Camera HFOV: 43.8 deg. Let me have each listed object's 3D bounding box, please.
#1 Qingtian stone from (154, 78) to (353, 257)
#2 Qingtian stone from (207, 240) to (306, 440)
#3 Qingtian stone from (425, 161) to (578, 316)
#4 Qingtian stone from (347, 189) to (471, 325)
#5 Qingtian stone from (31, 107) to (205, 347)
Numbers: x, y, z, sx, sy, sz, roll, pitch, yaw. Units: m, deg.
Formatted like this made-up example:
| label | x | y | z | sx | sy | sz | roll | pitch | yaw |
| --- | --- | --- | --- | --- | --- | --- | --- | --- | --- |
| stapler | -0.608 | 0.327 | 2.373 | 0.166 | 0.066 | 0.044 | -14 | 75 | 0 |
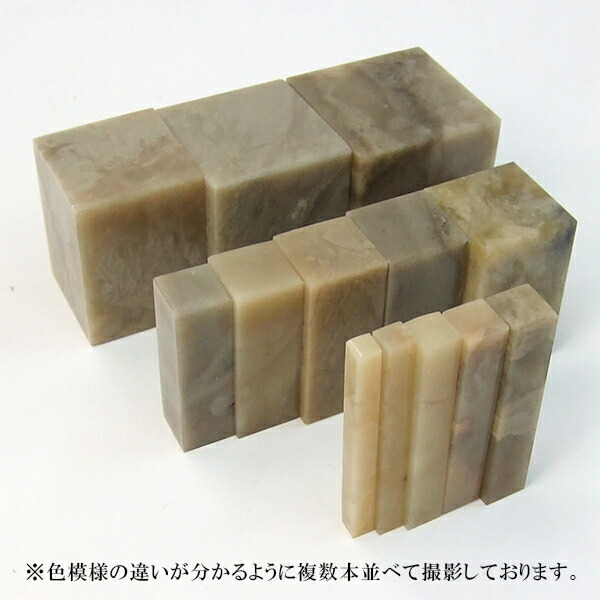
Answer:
| label | x | y | z | sx | sy | sz | roll | pitch | yaw |
| --- | --- | --- | --- | --- | --- | --- | --- | --- | --- |
| Qingtian stone | -0.108 | -0.387 | 1.601 | 0.349 | 0.231 | 0.363 | -17 | 52 | -15 |
| Qingtian stone | -0.082 | 0.070 | 1.344 | 0.172 | 0.413 | 0.205 | -16 | 48 | -15 |
| Qingtian stone | 0.412 | -0.136 | 1.605 | 0.250 | 0.272 | 0.275 | -17 | 50 | -14 |
| Qingtian stone | 0.222 | -0.088 | 1.555 | 0.216 | 0.230 | 0.232 | -16 | 51 | -12 |
| Qingtian stone | -0.403 | -0.158 | 1.690 | 0.352 | 0.406 | 0.377 | 27 | 47 | 18 |
